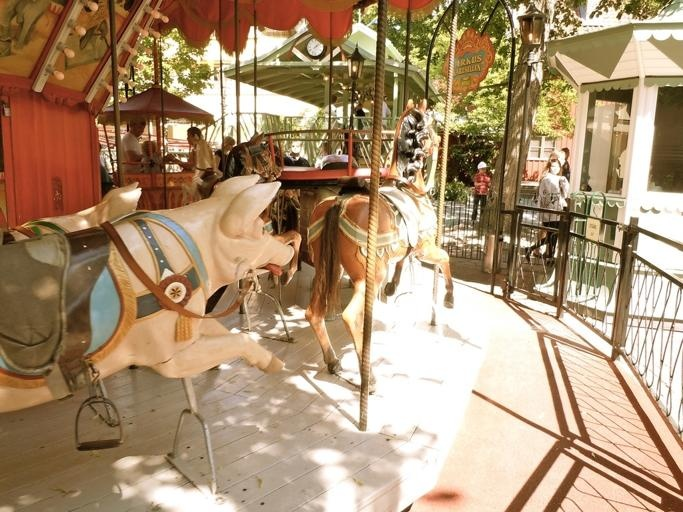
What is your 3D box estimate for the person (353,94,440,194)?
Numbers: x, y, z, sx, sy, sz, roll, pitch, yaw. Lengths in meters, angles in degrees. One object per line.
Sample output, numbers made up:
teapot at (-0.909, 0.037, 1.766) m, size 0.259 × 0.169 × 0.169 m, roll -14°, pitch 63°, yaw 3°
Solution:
person at (0.720, -1.069, 4.730) m, size 0.534 × 0.907 × 0.312 m, roll -6°, pitch 16°, yaw -26°
